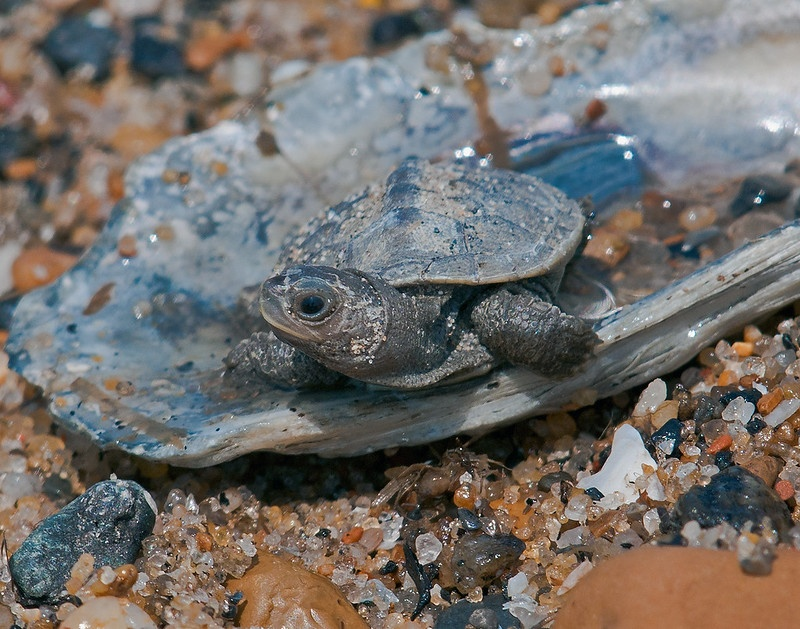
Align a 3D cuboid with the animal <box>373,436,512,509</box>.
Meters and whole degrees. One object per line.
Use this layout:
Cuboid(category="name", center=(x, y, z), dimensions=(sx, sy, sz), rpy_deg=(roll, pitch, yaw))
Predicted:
Cuboid(category="animal", center=(0.145, 0.637, 3.790), dimensions=(0.422, 0.433, 0.147), rpy_deg=(0, 90, -4))
